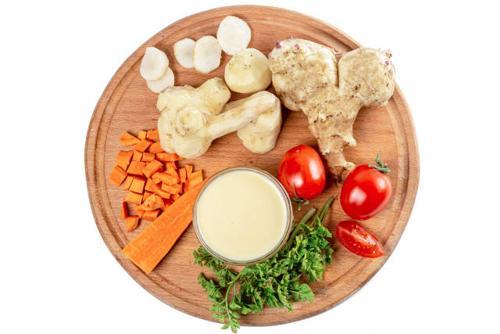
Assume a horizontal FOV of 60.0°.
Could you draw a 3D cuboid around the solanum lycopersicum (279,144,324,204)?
[{"bbox_3d":[0.450,0.078,3.909,0.419,0.455,0.377,3,-17,1],"label":"solanum lycopersicum"}]
